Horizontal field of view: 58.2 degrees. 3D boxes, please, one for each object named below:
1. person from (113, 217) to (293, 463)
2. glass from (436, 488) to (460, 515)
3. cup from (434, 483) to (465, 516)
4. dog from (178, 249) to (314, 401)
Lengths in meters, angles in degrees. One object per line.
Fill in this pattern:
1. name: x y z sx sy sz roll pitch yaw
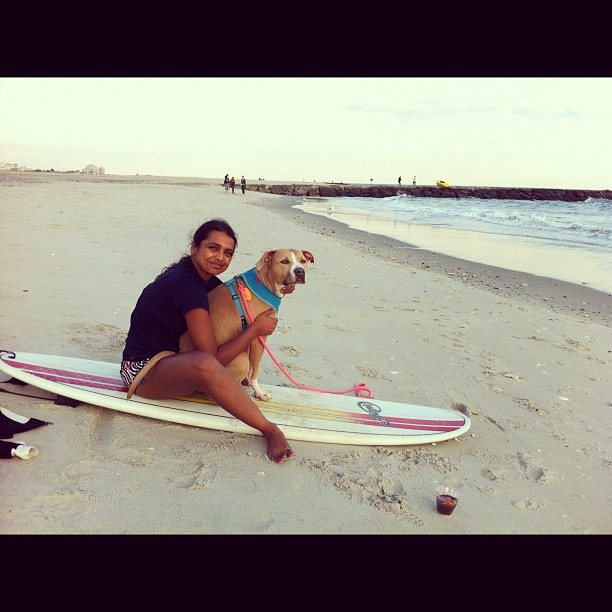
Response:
1. person: -0.675 0.182 3.532 1.045 1.443 0.964 0 16 -17
2. glass: 0.797 1.092 3.092 0.140 0.085 0.119 4 1 14
3. cup: 0.811 1.084 3.109 0.162 0.085 0.131 3 2 -2
4. dog: -0.402 0.154 3.909 0.509 1.116 1.092 18 20 39
